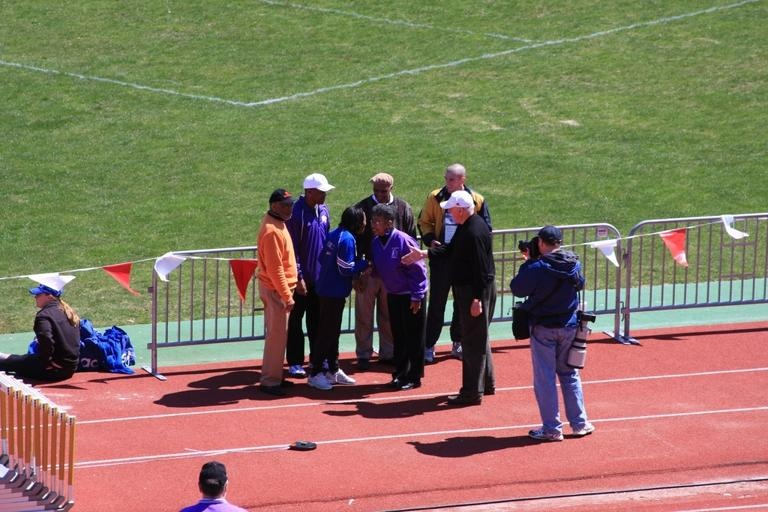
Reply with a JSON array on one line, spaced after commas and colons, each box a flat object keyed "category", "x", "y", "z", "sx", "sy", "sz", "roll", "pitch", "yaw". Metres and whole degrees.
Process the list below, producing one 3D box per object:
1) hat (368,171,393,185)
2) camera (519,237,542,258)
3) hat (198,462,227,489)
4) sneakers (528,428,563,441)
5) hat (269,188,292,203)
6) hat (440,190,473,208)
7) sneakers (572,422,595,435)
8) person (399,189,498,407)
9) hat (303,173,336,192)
[{"category": "hat", "x": -0.032, "y": -1.322, "z": 27.128, "sx": 0.380, "sy": 0.179, "sz": 0.410, "roll": 1, "pitch": 4, "yaw": -2}, {"category": "camera", "x": 2.452, "y": -0.147, "z": 25.880, "sx": 0.183, "sy": 0.255, "sz": 0.410, "roll": -24, "pitch": 24, "yaw": -20}, {"category": "hat", "x": -2.543, "y": 3.235, "z": 23.138, "sx": 0.371, "sy": 0.349, "sz": 0.396, "roll": 0, "pitch": 14, "yaw": -7}, {"category": "sneakers", "x": 2.640, "y": 2.913, "z": 25.410, "sx": 0.541, "sy": 0.213, "sz": 0.193, "roll": 6, "pitch": -1, "yaw": 7}, {"category": "hat", "x": -1.764, "y": -0.996, "z": 26.365, "sx": 0.341, "sy": 0.166, "sz": 0.241, "roll": -6, "pitch": 0, "yaw": 25}, {"category": "hat", "x": 1.226, "y": -0.917, "z": 25.898, "sx": 0.484, "sy": 0.194, "sz": 0.281, "roll": 4, "pitch": 4, "yaw": 3}, {"category": "sneakers", "x": 3.255, "y": 2.831, "z": 25.490, "sx": 0.172, "sy": 0.153, "sz": 0.392, "roll": 3, "pitch": 12, "yaw": 37}, {"category": "person", "x": 1.343, "y": 0.720, "z": 26.112, "sx": 1.050, "sy": 3.587, "sz": 0.705, "roll": -4, "pitch": 10, "yaw": 10}, {"category": "hat", "x": -1.160, "y": -1.219, "z": 26.813, "sx": 0.588, "sy": 0.280, "sz": 0.351, "roll": -1, "pitch": 10, "yaw": 7}]
